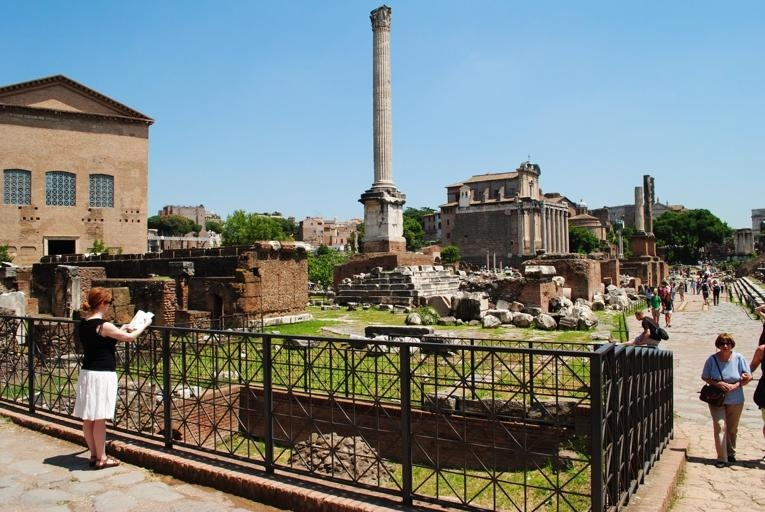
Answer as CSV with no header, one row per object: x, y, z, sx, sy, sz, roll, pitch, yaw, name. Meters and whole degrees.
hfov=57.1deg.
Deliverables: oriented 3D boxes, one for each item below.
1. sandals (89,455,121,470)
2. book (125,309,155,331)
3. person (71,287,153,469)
-3.953,2.954,10.129,0.345,0.112,0.178,-2,4,-25,sandals
-3.414,0.922,10.091,0.324,0.306,0.085,26,-16,-1,book
-3.893,1.733,10.023,0.872,2.582,0.776,-1,-2,-23,person
